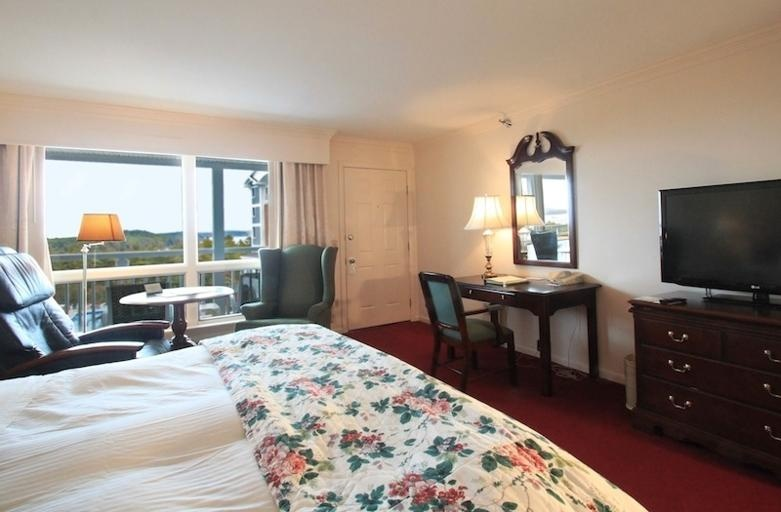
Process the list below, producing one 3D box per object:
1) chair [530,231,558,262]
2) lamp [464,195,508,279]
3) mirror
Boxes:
[{"bbox_3d":[1.544,-0.101,5.040,0.279,0.368,0.227,-8,10,-42],"label":"chair"},{"bbox_3d":[1.021,-0.219,5.322,0.442,0.852,0.674,0,6,11],"label":"lamp"},{"bbox_3d":[1.497,-0.552,5.051,0.111,1.363,0.766,-6,4,-40],"label":"mirror"}]
